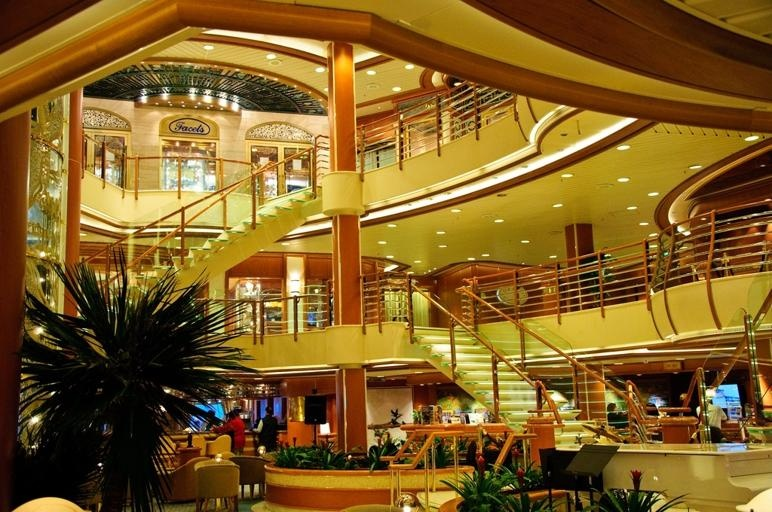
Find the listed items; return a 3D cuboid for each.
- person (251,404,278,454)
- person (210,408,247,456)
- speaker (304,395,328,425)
[{"bbox_3d":[-2.746,4.206,14.713,0.553,1.296,0.500,1,-1,-15],"label":"person"},{"bbox_3d":[-3.668,4.163,14.638,0.807,1.201,0.587,-1,-3,18],"label":"person"},{"bbox_3d":[-1.461,3.166,12.956,0.413,0.573,0.367,1,-11,-10],"label":"speaker"}]
